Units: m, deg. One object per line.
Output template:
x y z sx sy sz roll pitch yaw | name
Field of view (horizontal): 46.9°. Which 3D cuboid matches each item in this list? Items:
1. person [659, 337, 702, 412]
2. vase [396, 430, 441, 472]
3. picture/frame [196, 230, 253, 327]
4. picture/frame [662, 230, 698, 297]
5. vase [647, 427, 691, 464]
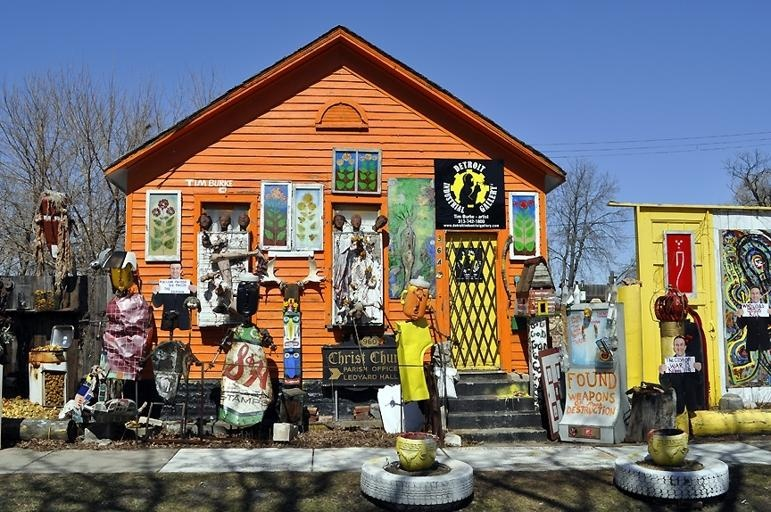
6.708 2.729 20.168 0.599 1.760 1.551 -6 -11 35 | person
0.596 3.849 17.155 0.881 0.676 0.859 9 -5 -15 | vase
-3.802 0.502 20.683 1.211 2.243 0.458 1 -9 -8 | picture/frame
6.996 0.168 21.158 0.125 1.490 0.749 -9 8 -44 | picture/frame
5.518 3.700 17.264 0.718 0.564 0.726 -7 1 -22 | vase
